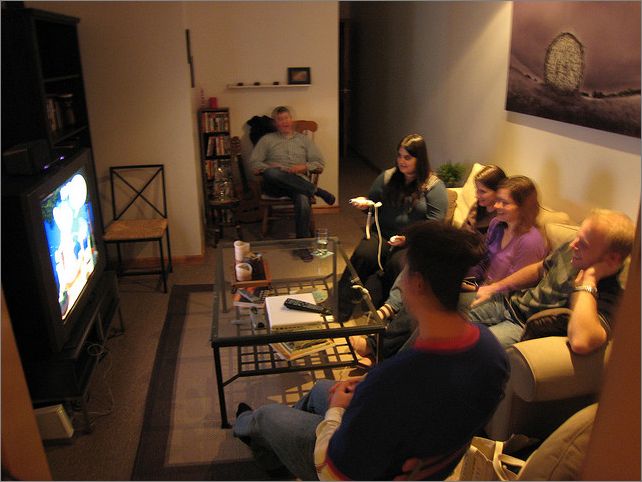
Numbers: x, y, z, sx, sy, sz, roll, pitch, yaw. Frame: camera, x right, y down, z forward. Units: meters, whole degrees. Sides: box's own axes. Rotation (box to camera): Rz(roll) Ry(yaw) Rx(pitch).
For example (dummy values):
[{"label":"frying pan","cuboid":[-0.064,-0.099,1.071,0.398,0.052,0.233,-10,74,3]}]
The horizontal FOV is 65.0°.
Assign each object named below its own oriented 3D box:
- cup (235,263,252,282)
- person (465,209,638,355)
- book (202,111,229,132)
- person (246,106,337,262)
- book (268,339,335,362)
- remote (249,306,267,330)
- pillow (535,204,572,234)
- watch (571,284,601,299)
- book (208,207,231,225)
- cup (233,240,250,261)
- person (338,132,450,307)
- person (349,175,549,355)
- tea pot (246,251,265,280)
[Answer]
[{"label":"cup","cuboid":[-0.452,0.183,2.949,0.078,0.075,0.102,-18,35,-33]},{"label":"person","cuboid":[0.977,0.217,2.493,0.970,0.587,0.615,-6,44,27]},{"label":"book","cuboid":[-1.083,-1.205,5.106,0.280,0.222,0.046,-4,20,-9]},{"label":"person","cuboid":[-0.316,-0.648,4.877,0.706,1.306,0.676,-4,6,-23]},{"label":"book","cuboid":[-0.112,0.570,2.663,0.181,0.043,0.184,-4,12,-18]},{"label":"remote","cuboid":[-0.331,0.399,2.622,0.049,0.050,0.148,-9,16,-13]},{"label":"pillow","cuboid":[1.362,-0.140,2.952,0.145,0.064,0.146,-23,50,-32]},{"label":"watch","cuboid":[1.170,0.222,2.211,0.098,0.057,0.046,10,22,27]},{"label":"book","cuboid":[-1.032,-0.261,5.179,0.184,0.183,0.186,-4,19,-14]},{"label":"cup","cuboid":[-0.488,0.060,3.196,0.119,0.119,0.088,-4,15,-35]},{"label":"person","cuboid":[0.494,-0.096,3.540,0.559,1.227,0.810,14,14,42]},{"label":"person","cuboid":[0.712,0.354,2.877,1.162,0.841,0.490,-4,33,14]},{"label":"tea pot","cuboid":[-0.374,0.157,3.055,0.096,0.156,0.152,-1,19,-4]}]
